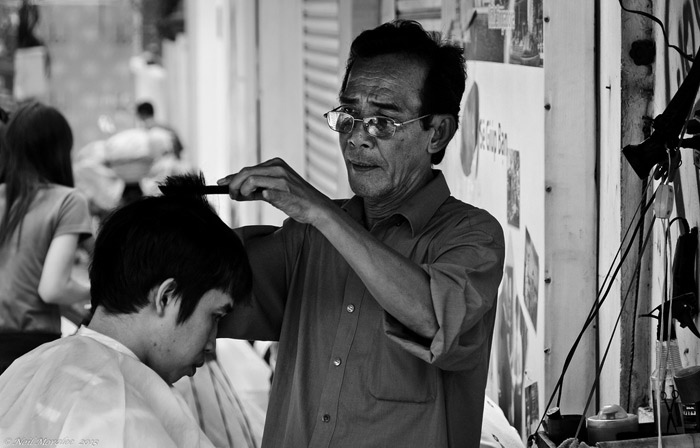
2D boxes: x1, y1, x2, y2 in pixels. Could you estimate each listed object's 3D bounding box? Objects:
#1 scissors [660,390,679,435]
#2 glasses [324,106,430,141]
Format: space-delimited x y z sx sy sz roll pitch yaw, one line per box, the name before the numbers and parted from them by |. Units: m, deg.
scissors | 1.077 0.633 3.550 0.063 0.123 0.078 1 -2 3
glasses | 0.118 -0.364 3.871 0.338 0.125 0.070 1 -2 4
